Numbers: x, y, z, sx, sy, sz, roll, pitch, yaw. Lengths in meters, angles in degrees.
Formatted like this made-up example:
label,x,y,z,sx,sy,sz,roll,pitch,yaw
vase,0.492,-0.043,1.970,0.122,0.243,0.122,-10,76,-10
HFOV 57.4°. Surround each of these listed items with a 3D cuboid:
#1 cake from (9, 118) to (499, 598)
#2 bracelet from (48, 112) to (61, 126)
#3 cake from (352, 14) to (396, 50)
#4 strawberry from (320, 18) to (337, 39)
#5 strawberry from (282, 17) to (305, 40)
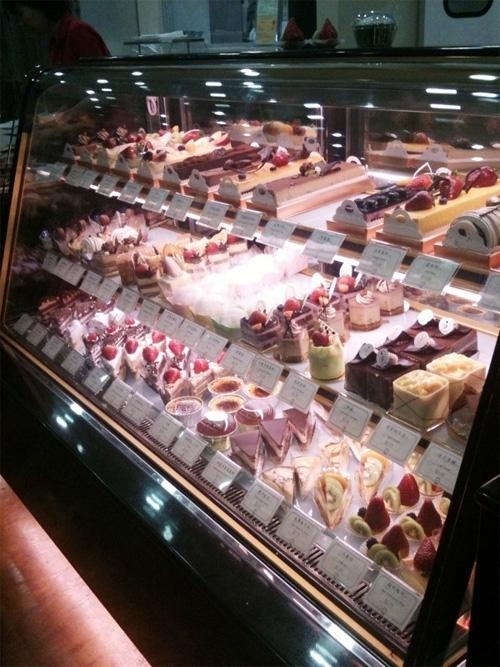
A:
label,x,y,z,sx,sy,sz,roll,pitch,yaw
cake,-0.010,0.081,1.363,1.704,0.951,0.558,31,35,29
bracelet,-0.871,-0.946,2.018,0.038,0.036,0.008,-6,59,-7
cake,0.346,-0.849,1.274,0.119,0.093,0.128,7,29,18
strawberry,0.247,-0.941,1.421,0.051,0.066,0.174,1,27,9
strawberry,0.145,-0.996,1.501,0.065,0.083,0.184,-1,27,5
